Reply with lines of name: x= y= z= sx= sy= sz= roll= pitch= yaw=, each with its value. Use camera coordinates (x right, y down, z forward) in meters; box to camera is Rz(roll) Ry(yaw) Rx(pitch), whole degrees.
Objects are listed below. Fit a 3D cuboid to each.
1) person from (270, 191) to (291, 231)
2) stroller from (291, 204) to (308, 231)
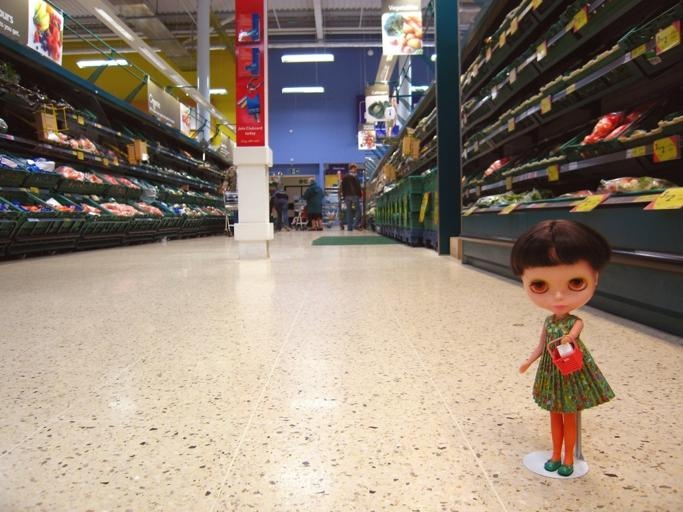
person: x=-2.212 y=-1.685 z=15.356 sx=0.578 sy=1.488 sz=2.034 roll=-1 pitch=7 yaw=-10
stroller: x=-1.655 y=-1.551 z=17.511 sx=0.852 sy=1.155 sz=1.238 roll=1 pitch=15 yaw=-1
